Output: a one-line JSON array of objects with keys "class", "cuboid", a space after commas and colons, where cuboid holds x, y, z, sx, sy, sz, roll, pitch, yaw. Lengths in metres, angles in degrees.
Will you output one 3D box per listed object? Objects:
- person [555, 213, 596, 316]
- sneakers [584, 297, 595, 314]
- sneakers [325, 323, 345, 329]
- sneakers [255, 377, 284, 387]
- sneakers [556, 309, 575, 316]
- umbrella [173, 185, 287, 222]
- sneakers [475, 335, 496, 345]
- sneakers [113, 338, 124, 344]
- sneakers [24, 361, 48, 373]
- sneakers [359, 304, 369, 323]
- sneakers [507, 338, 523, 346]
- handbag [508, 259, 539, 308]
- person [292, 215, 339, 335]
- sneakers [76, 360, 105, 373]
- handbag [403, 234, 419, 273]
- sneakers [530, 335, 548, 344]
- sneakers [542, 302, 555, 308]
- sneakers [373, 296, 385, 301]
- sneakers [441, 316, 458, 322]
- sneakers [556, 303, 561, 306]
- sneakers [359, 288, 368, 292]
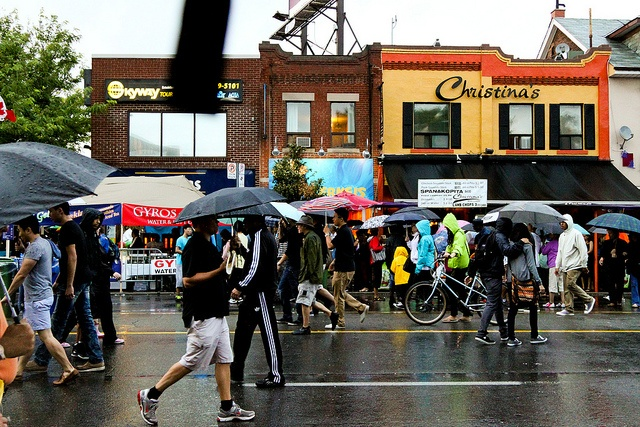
[{"class": "person", "cuboid": [7.381, 1.558, 25.214, 1.055, 2.878, 1.587, 3, 14, 14]}, {"class": "sneakers", "cuboid": [7.924, 2.722, 25.389, 0.263, 0.616, 0.227, 17, -3, -2]}, {"class": "sneakers", "cuboid": [0.380, 2.999, 23.033, 0.487, 0.178, 0.168, 3, -3, -2]}, {"class": "sneakers", "cuboid": [-1.093, 3.681, 18.920, 0.623, 0.244, 0.222, 5, -7, 1]}, {"class": "sneakers", "cuboid": [7.054, 2.860, 24.973, 0.471, 0.174, 0.167, 3, -11, -1]}, {"class": "umbrella", "cuboid": [-1.972, -0.181, 18.400, 2.351, 0.531, 0.725, -11, 17, -38]}, {"class": "sneakers", "cuboid": [4.043, 3.106, 21.406, 0.541, 0.212, 0.190, 17, -6, -10]}, {"class": "sneakers", "cuboid": [-4.996, 3.161, 21.467, 0.264, 0.103, 0.090, -5, -2, -3]}, {"class": "sneakers", "cuboid": [-6.420, 3.446, 19.565, 0.528, 0.195, 0.184, 10, -4, -9]}, {"class": "sneakers", "cuboid": [1.171, 2.736, 23.326, 0.226, 0.503, 0.191, 6, 27, 2]}, {"class": "sneakers", "cuboid": [4.795, 3.161, 21.383, 0.399, 0.166, 0.141, -5, 5, -42]}, {"class": "handbag", "cuboid": [5.050, 1.709, 21.484, 0.741, 1.304, 0.397, 2, 13, 10]}, {"class": "person", "cuboid": [-0.224, 1.596, 22.565, 1.021, 2.941, 1.194, -1, 13, -2]}, {"class": "sneakers", "cuboid": [-5.174, 3.457, 19.644, 0.625, 0.245, 0.233, 3, -4, -5]}, {"class": "handbag", "cuboid": [2.736, 1.246, 26.055, 0.388, 1.140, 0.438, 19, -42, 7]}, {"class": "sneakers", "cuboid": [5.463, 3.111, 21.558, 0.455, 0.190, 0.160, -2, -1, -7]}, {"class": "sneakers", "cuboid": [6.997, 2.794, 26.581, 0.152, 0.128, 0.314, 2, 1, -21]}, {"class": "sneakers", "cuboid": [1.898, 2.743, 28.049, 0.379, 0.147, 0.127, 4, -5, -5]}, {"class": "sneakers", "cuboid": [3.599, 2.916, 23.972, 0.421, 0.164, 0.174, 2, -6, 3]}, {"class": "sneakers", "cuboid": [7.364, 2.815, 26.803, 0.071, 0.074, 0.153, -12, 10, 11]}, {"class": "sneakers", "cuboid": [1.531, 2.668, 30.404, 0.312, 0.124, 0.103, 3, -19, -22]}]
